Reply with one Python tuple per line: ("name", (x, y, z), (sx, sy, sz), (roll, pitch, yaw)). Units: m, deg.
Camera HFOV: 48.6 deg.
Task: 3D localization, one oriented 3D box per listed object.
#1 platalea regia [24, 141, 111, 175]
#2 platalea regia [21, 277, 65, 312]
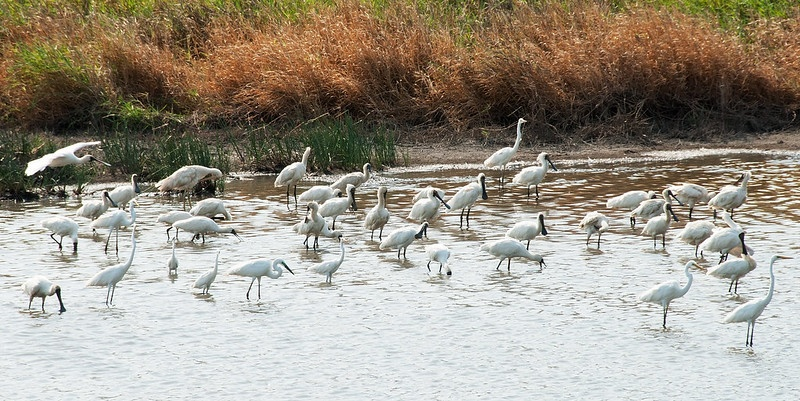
("platalea regia", (-8.928, -1.159, 23.313), (1.108, 0.634, 2.049), (-2, 8, 7))
("platalea regia", (-7.409, 1.930, 18.397), (0.859, 0.746, 0.717), (-5, 9, -8))
